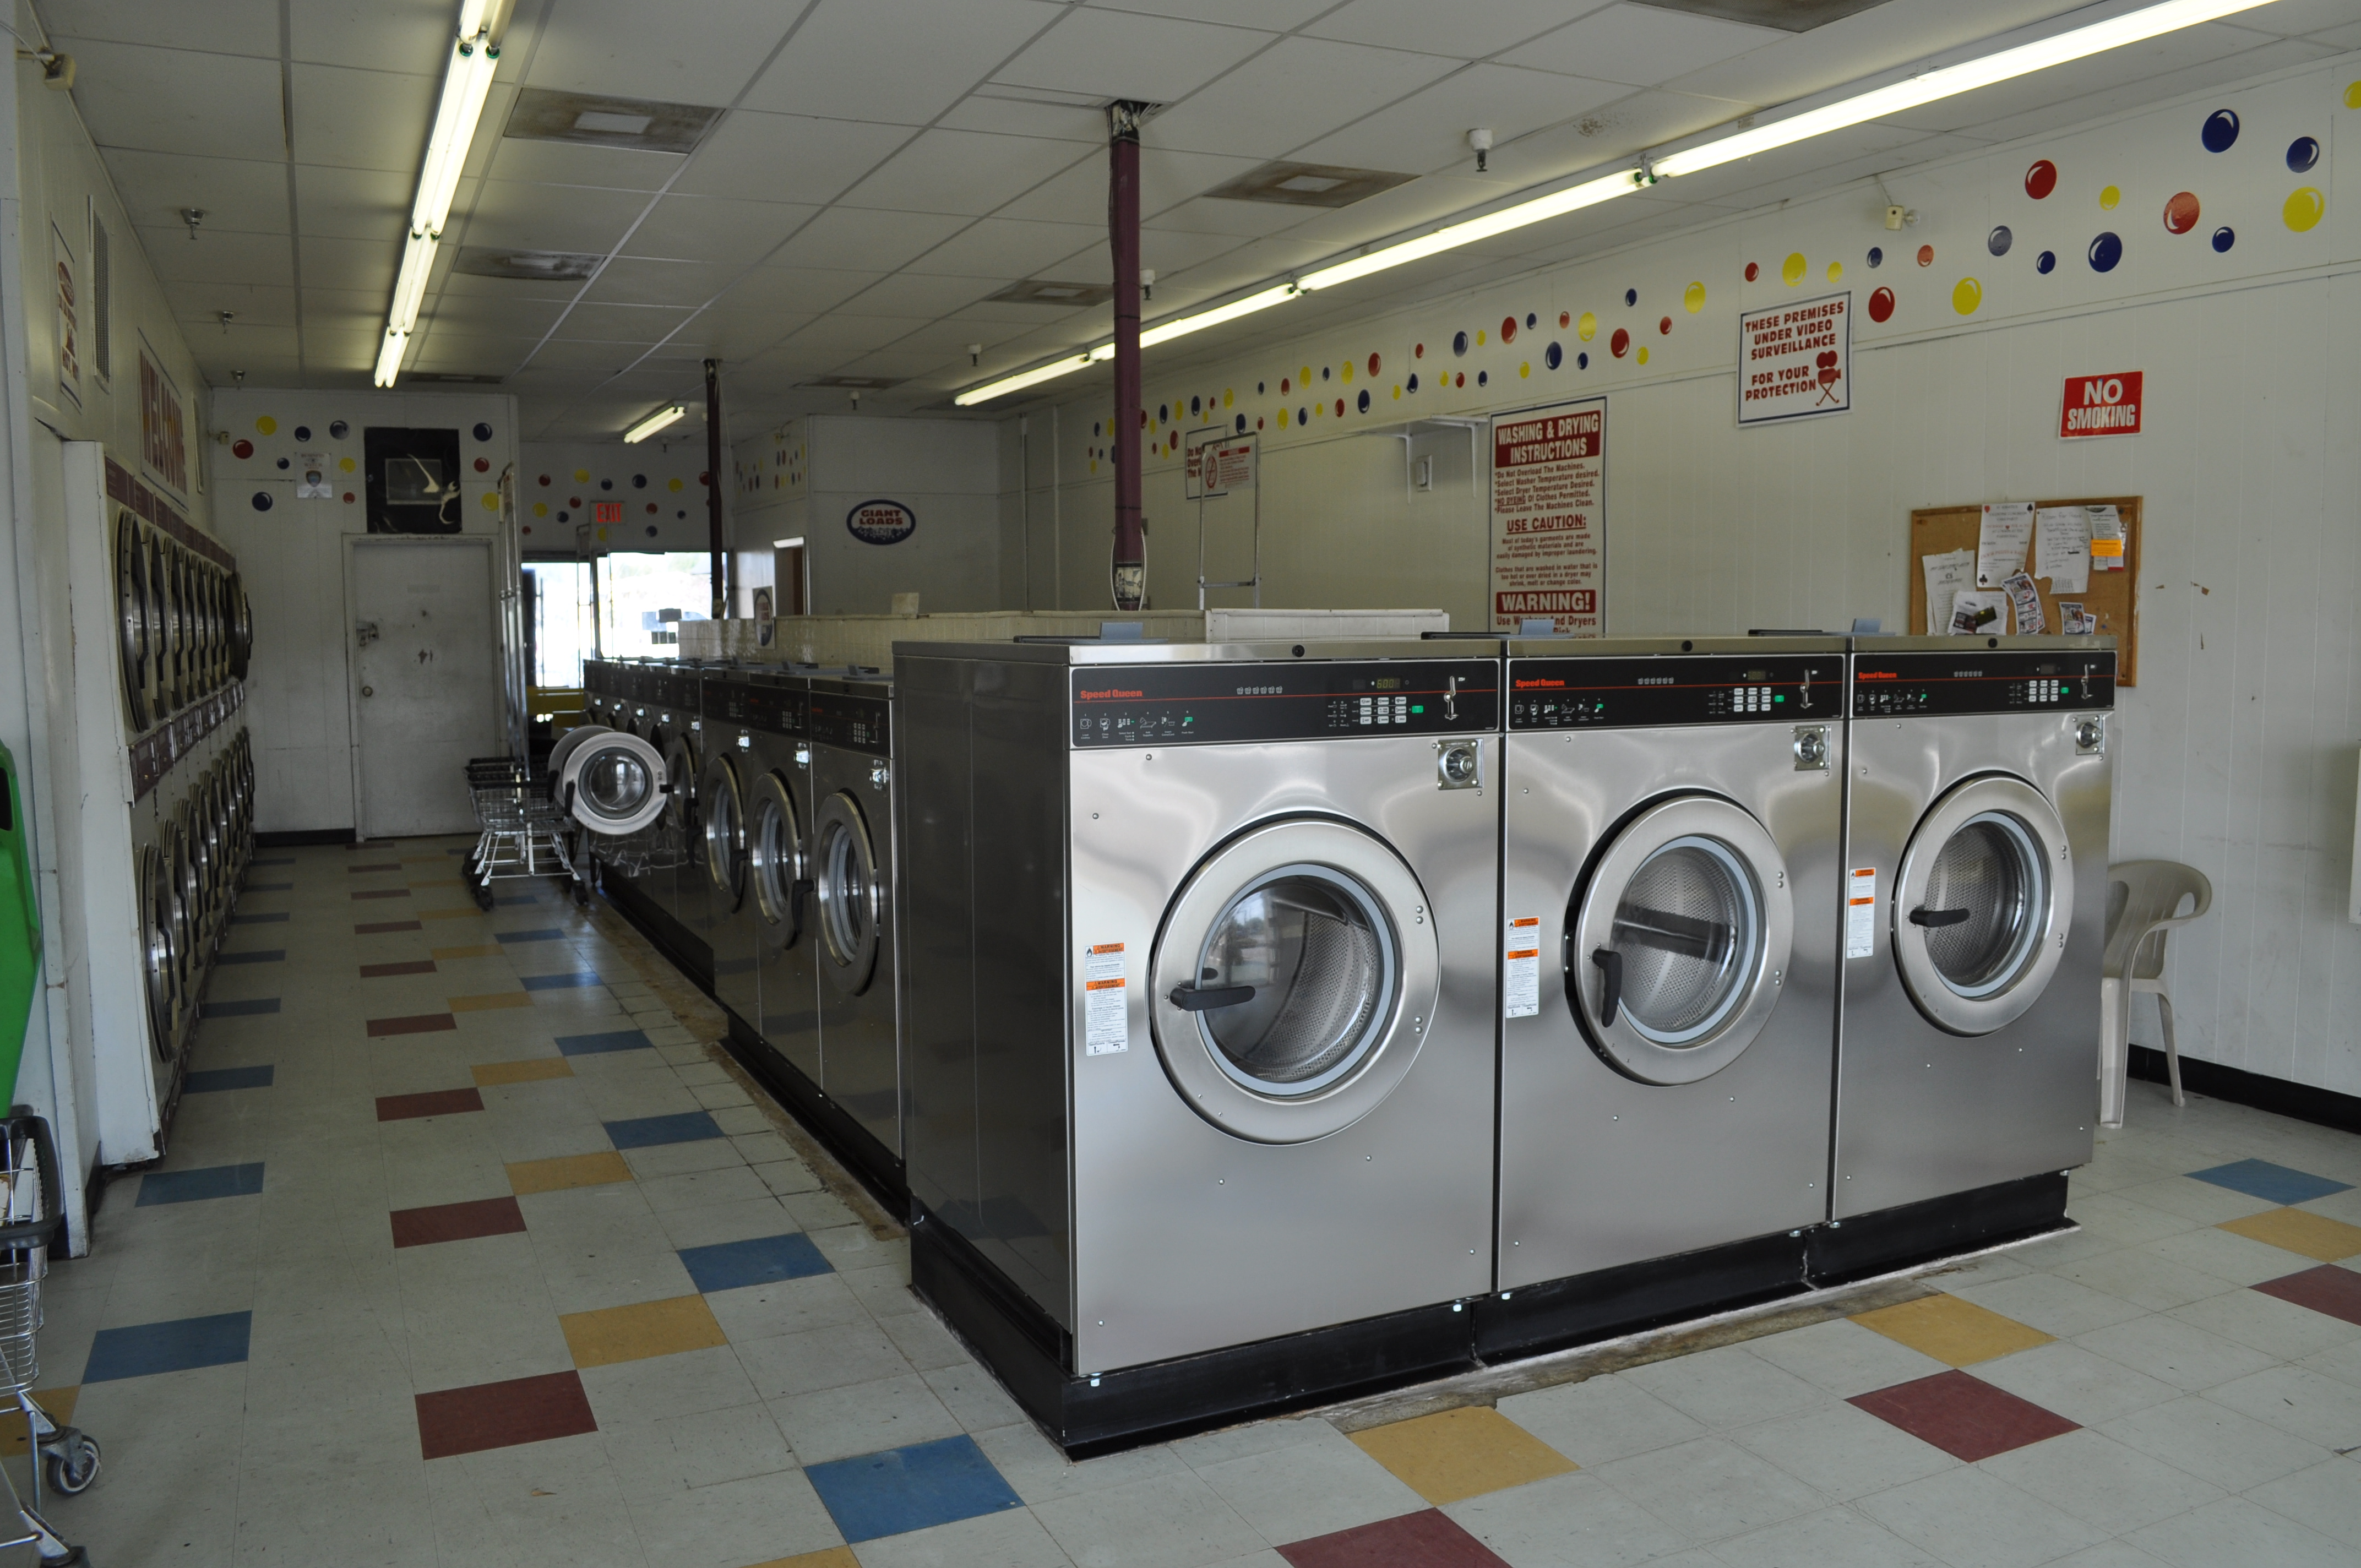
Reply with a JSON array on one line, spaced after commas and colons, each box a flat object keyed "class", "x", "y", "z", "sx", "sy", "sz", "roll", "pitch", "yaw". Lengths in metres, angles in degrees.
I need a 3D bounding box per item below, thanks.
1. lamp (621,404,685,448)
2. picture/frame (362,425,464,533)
[{"class": "lamp", "x": -5.030, "y": -3.459, "z": 14.731, "sx": 0.553, "sy": 0.357, "sz": 2.533, "roll": -5, "pitch": 15, "yaw": -19}, {"class": "picture/frame", "x": -6.296, "y": -2.506, "z": 12.692, "sx": 0.761, "sy": 0.918, "sz": 0.086, "roll": -5, "pitch": -4, "yaw": -15}]
